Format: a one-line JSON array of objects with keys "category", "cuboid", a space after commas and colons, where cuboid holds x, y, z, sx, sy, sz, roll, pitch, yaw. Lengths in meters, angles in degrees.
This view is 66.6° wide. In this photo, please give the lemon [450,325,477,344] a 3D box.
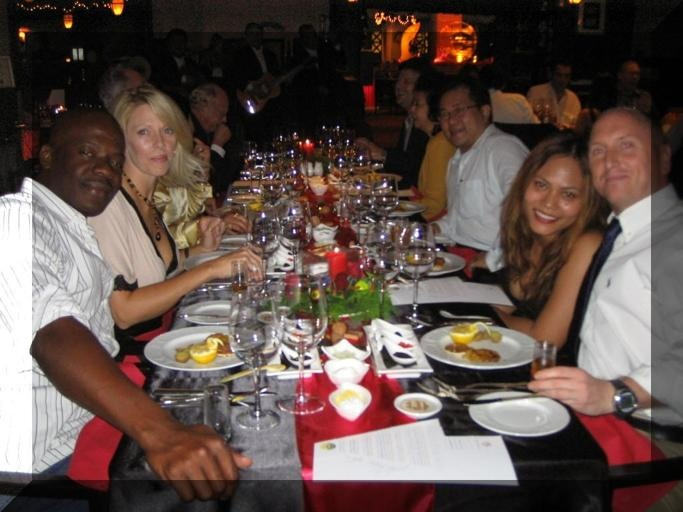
[{"category": "lemon", "cuboid": [0.401, 0.246, 1.710, 0.067, 0.041, 0.064, -3, 17, 4]}]

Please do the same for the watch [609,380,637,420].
[{"category": "watch", "cuboid": [0.809, 0.404, 1.509, 0.066, 0.103, 0.099, -5, 5, 7]}]

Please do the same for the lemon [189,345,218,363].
[{"category": "lemon", "cuboid": [-0.414, 0.294, 1.561, 0.052, 0.028, 0.050, 9, 15, -6]}]

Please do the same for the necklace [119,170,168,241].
[{"category": "necklace", "cuboid": [-0.956, -0.237, 2.566, 0.269, 0.251, 0.074, 13, 11, 12]}]
